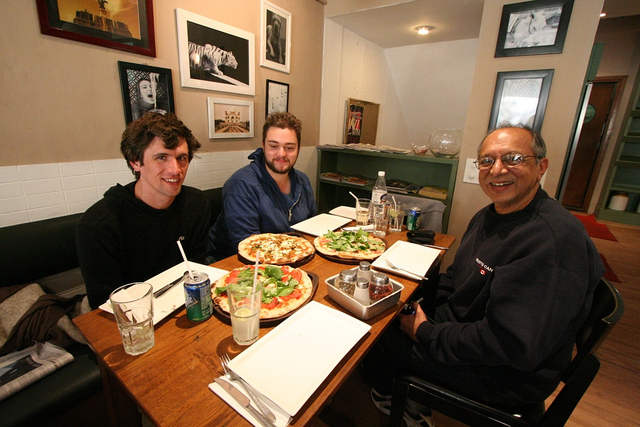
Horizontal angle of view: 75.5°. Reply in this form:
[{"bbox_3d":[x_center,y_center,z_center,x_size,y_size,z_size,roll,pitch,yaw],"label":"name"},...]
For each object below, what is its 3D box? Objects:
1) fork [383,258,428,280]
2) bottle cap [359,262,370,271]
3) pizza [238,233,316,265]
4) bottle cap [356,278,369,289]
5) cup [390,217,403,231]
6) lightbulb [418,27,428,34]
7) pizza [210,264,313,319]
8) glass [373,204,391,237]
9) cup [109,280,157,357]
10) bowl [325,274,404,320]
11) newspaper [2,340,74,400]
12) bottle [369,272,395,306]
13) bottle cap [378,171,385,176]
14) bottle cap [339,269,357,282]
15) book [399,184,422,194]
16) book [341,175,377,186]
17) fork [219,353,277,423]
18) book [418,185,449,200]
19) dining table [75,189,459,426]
[{"bbox_3d":[0.564,0.374,2.774,0.227,0.033,0.033,30,48,21],"label":"fork"},{"bbox_3d":[0.265,0.314,2.480,0.048,0.045,0.048,0,13,-6],"label":"bottle cap"},{"bbox_3d":[-0.311,0.234,2.940,0.280,0.033,0.291,13,19,32],"label":"pizza"},{"bbox_3d":[0.247,0.408,2.437,0.057,0.054,0.058,15,24,36],"label":"bottle cap"},{"bbox_3d":[0.609,0.081,3.347,0.099,0.110,0.101,0,13,0],"label":"cup"},{"bbox_3d":[1.135,-2.023,4.579,0.107,0.052,0.130,-7,21,-25],"label":"lightbulb"},{"bbox_3d":[-0.295,0.461,2.570,0.510,0.075,0.547,20,35,26],"label":"pizza"},{"bbox_3d":[0.473,0.042,3.329,0.161,0.256,0.163,5,7,-18],"label":"glass"},{"bbox_3d":[-1.027,0.583,2.319,0.206,0.336,0.243,-12,23,-34],"label":"cup"},{"bbox_3d":[0.227,0.522,2.510,0.300,0.092,0.294,0,17,0],"label":"bowl"},{"bbox_3d":[-1.851,1.014,2.702,0.284,0.070,0.302,16,21,31],"label":"newspaper"},{"bbox_3d":[0.353,0.443,2.484,0.159,0.168,0.163,-2,6,-10],"label":"bottle"},{"bbox_3d":[0.477,-0.322,3.299,0.060,0.038,0.061,8,15,30],"label":"bottle cap"},{"bbox_3d":[0.167,0.374,2.503,0.073,0.071,0.072,-3,18,-11],"label":"bottle cap"},{"bbox_3d":[0.960,-0.262,4.301,0.121,0.034,0.122,5,33,18],"label":"book"},{"bbox_3d":[0.458,-0.375,4.666,0.349,0.059,0.349,16,23,35],"label":"book"},{"bbox_3d":[-0.376,0.922,2.162,0.055,0.059,0.385,-35,61,-28],"label":"fork"},{"bbox_3d":[1.142,-0.222,4.209,0.276,0.082,0.250,7,20,15],"label":"book"},{"bbox_3d":[-0.229,0.496,2.658,1.268,0.742,2.043,19,25,41],"label":"dining table"}]
